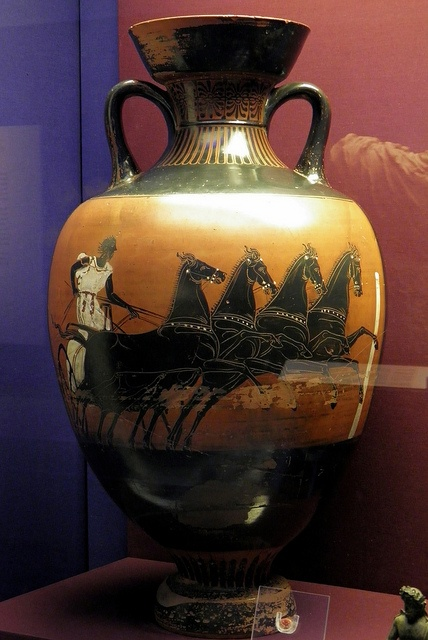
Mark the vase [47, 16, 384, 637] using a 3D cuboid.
[{"bbox_3d":[-0.002,0.025,0.998,0.407,0.908,0.346,-6,-5,44],"label":"vase"}]
